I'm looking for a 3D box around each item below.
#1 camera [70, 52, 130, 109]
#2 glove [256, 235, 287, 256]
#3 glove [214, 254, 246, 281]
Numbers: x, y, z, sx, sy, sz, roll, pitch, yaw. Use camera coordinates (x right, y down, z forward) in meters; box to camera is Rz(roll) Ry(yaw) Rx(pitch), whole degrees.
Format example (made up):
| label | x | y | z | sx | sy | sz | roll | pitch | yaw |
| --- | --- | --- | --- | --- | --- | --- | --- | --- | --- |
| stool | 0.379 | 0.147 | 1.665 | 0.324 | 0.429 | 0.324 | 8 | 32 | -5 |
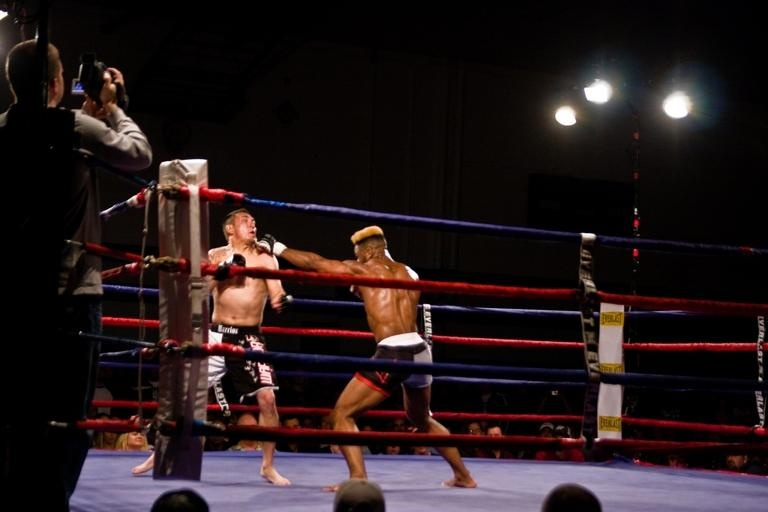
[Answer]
| label | x | y | z | sx | sy | sz | roll | pitch | yaw |
| --- | --- | --- | --- | --- | --- | --- | --- | --- | --- |
| camera | -1.757 | -1.093 | 5.089 | 0.377 | 0.332 | 0.191 | 7 | 8 | 7 |
| glove | -0.788 | -0.071 | 5.493 | 0.269 | 0.081 | 0.111 | 23 | 8 | 24 |
| glove | -0.959 | 0.056 | 5.065 | 0.166 | 0.227 | 0.348 | 6 | -16 | -10 |
